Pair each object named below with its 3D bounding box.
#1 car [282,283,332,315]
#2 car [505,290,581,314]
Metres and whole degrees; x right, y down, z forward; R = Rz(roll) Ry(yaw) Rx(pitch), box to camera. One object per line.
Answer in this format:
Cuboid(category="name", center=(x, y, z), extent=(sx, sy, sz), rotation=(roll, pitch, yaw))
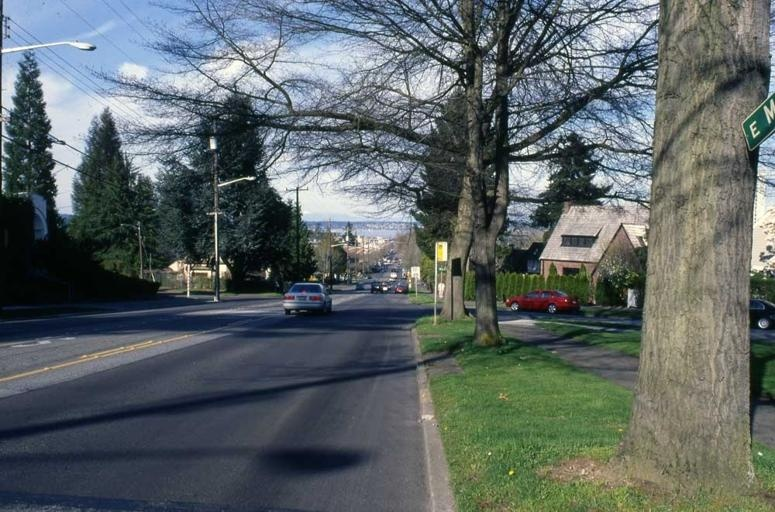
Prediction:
Cuboid(category="car", center=(-3.769, 2.026, 35.675), extent=(1.815, 1.497, 2.571), rotation=(0, 4, 3))
Cuboid(category="car", center=(9.080, 2.717, 45.561), extent=(1.037, 1.387, 4.963), rotation=(-3, 5, -34))
